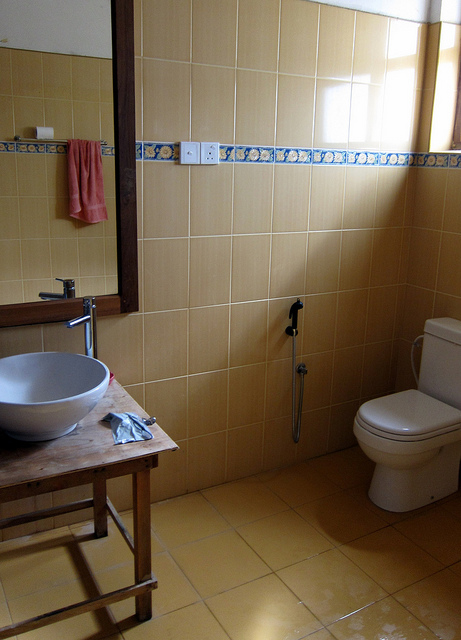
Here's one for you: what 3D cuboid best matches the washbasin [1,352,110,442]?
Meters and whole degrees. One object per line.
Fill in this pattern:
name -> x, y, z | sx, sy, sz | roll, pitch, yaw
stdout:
washbasin -> -0.470, 0.211, 1.251 | 0.290, 0.157, 0.449 | -1, 11, -17

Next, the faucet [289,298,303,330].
faucet -> 0.292, -0.023, 2.167 | 0.057, 0.126, 0.046 | 4, 10, 16
